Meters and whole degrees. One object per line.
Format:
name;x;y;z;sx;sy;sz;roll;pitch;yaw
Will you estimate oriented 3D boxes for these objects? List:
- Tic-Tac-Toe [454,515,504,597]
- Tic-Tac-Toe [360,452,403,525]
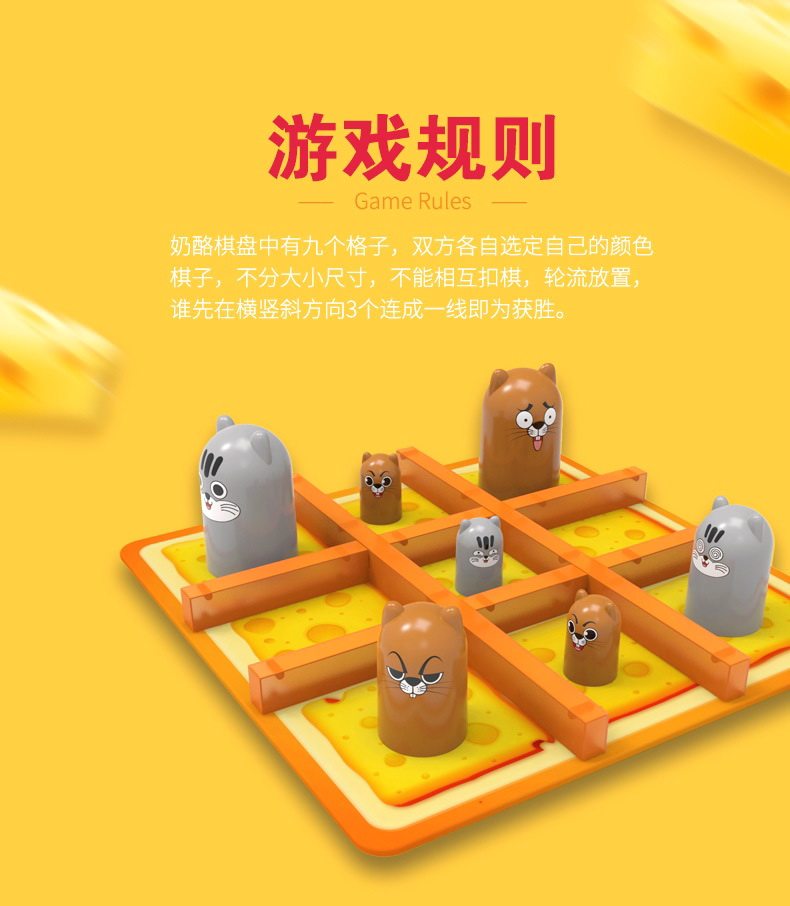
Tic-Tac-Toe;0.365;0.443;3.676;0.217;0.332;0.201;-7;17;-24
Tic-Tac-Toe;-0.084;0.178;4.387;0.236;0.347;0.227;6;13;23
